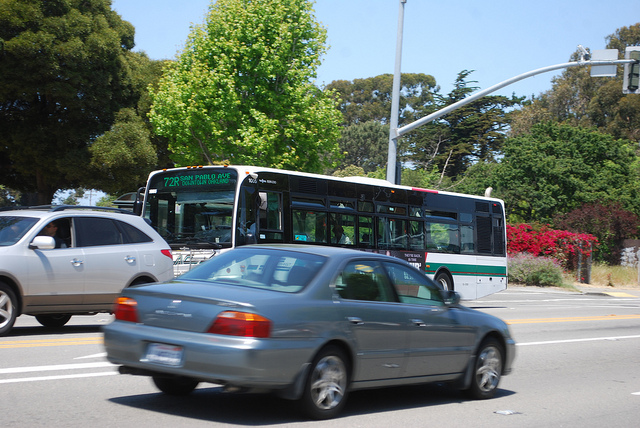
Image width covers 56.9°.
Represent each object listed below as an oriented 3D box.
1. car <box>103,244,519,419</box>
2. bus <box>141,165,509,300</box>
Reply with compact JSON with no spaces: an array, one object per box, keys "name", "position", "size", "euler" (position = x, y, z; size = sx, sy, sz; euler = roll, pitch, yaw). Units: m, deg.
[{"name":"car","position":[0.318,1.666,8.993],"size":[2.655,1.558,6.306],"euler":[-2,-8,43]},{"name":"bus","position":[0.434,0.887,20.230],"size":[15.868,3.989,4.747],"euler":[6,-8,-44]}]
